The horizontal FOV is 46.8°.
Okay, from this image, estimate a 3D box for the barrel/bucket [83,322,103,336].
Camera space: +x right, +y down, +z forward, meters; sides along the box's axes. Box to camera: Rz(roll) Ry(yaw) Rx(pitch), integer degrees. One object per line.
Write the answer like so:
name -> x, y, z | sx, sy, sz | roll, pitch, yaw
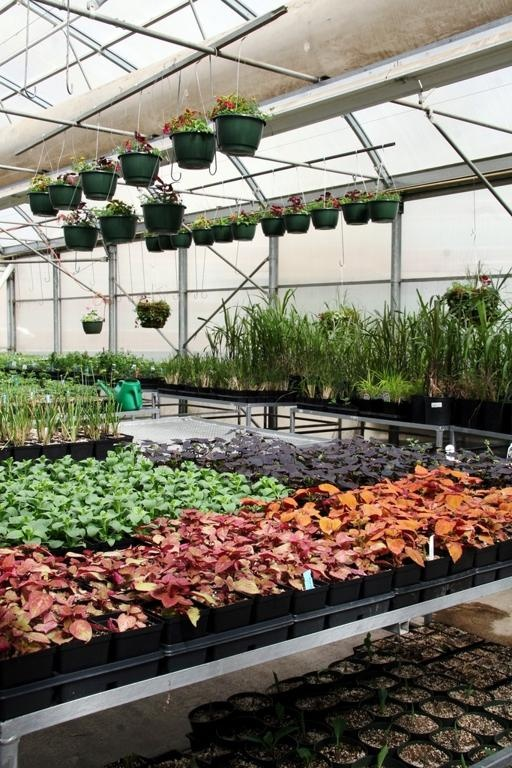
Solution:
barrel/bucket -> -2.618, -0.911, 9.546 | 0.276, 0.168, 0.275 | 1, 11, 0
